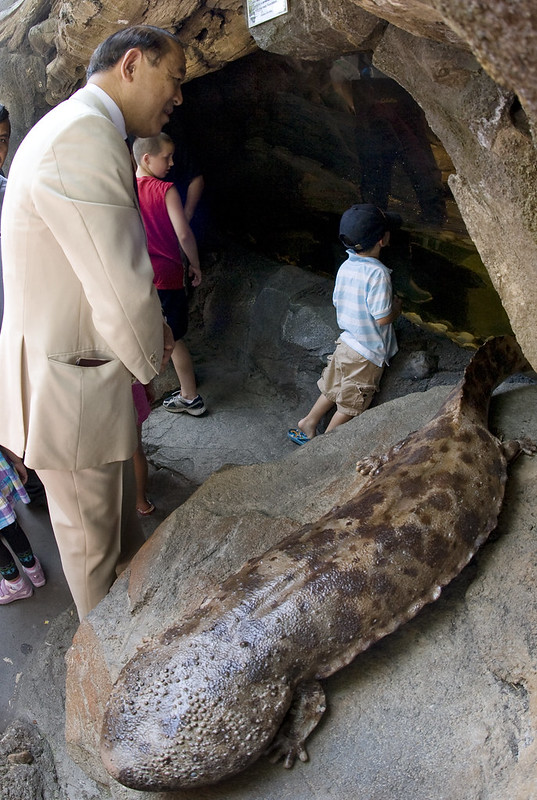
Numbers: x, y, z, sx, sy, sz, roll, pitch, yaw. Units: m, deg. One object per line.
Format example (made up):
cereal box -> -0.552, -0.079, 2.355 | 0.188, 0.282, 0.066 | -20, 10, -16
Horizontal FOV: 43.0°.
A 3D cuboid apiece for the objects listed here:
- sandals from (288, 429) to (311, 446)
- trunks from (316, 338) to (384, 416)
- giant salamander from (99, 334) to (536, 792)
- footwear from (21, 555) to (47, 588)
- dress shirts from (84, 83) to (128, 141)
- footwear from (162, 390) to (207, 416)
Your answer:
sandals -> 0.177, 0.215, 3.846 | 0.045, 0.066, 0.137 | -31, 23, -25
trunks -> 0.417, -0.106, 3.390 | 0.199, 0.345, 0.275 | -19, 57, -34
giant salamander -> 0.385, 0.495, 2.022 | 1.695, 0.294, 0.564 | -43, 40, -16
footwear -> -1.036, 0.770, 3.059 | 0.067, 0.079, 0.175 | -19, 53, -19
dress shirts -> -0.456, -0.812, 1.917 | 0.089, 0.147, 0.142 | -12, 35, -6
footwear -> -0.501, 0.029, 4.121 | 0.285, 0.132, 0.109 | 6, 60, 7
